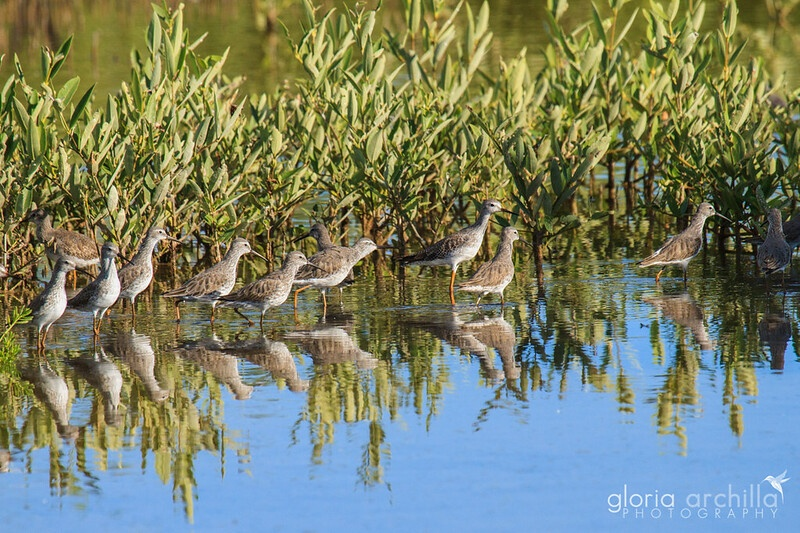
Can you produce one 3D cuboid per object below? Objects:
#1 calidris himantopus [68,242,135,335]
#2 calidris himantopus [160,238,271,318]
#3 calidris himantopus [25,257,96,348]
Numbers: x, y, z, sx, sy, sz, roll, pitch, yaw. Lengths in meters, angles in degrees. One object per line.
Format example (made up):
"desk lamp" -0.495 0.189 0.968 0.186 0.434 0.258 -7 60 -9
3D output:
"calidris himantopus" -4.367 0.341 13.347 0.974 1.310 0.431 -2 -2 15
"calidris himantopus" -3.062 0.091 14.388 1.938 1.576 0.669 -2 3 -18
"calidris himantopus" -4.867 0.470 13.058 0.665 1.191 1.068 -7 16 -20
